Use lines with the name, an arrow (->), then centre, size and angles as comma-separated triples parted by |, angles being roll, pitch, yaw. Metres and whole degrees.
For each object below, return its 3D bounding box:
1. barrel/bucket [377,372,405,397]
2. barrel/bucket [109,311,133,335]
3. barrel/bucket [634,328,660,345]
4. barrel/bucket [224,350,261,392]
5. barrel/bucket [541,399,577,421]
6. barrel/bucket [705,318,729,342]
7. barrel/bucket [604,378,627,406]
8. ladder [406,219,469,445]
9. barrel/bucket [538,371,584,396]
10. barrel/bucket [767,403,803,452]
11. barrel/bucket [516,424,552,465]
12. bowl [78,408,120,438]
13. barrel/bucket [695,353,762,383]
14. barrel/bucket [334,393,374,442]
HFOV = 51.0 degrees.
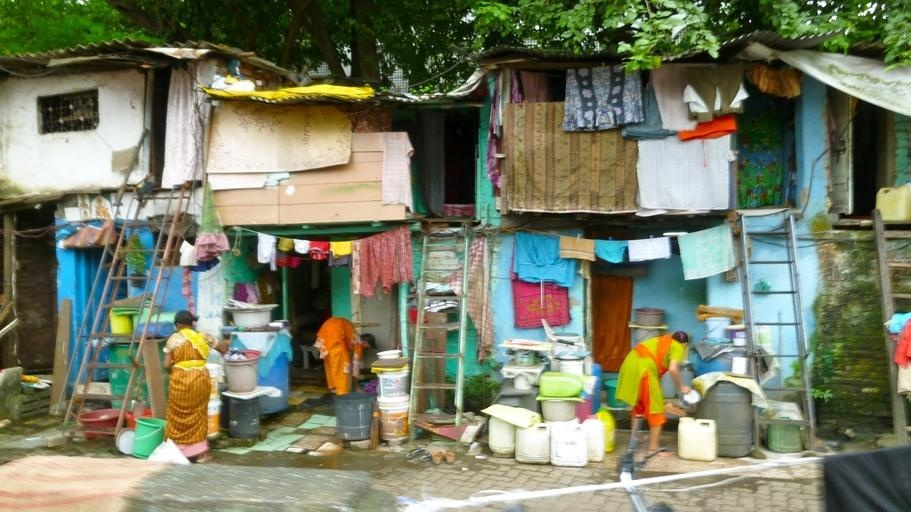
barrel/bucket -> -1.365, 2.845, 21.091 | 0.638, 0.435, 0.580 | 0, -8, 0
barrel/bucket -> -7.634, 1.543, 21.874 | 0.626, 0.593, 0.569 | -1, -6, -7
barrel/bucket -> 4.457, 1.865, 22.194 | 0.441, 0.277, 0.414 | 2, -1, 0
barrel/bucket -> -4.634, 2.595, 21.406 | 0.916, 0.685, 0.870 | -3, -1, 0
barrel/bucket -> 2.214, 3.258, 20.178 | 0.608, 0.249, 0.574 | -1, -10, 0
barrel/bucket -> 5.880, 1.653, 21.450 | 0.593, 0.471, 0.517 | 1, -4, -3
barrel/bucket -> 3.632, 3.198, 22.168 | 0.622, 0.412, 0.550 | -3, 5, -7
ladder -> -0.299, 1.637, 21.647 | 1.389, 4.148, 1.571 | -2, -1, 6
barrel/bucket -> 2.257, 2.736, 20.237 | 0.741, 0.315, 0.502 | 0, -3, 9
barrel/bucket -> 6.978, 3.626, 20.149 | 0.722, 1.031, 0.548 | -2, -1, 15
barrel/bucket -> 1.643, 3.961, 19.982 | 0.850, 0.629, 0.791 | -1, -4, 0
bowl -> -7.738, 3.656, 20.948 | 0.946, 0.303, 0.692 | -1, -1, 15
barrel/bucket -> 5.935, 2.382, 20.697 | 0.978, 0.864, 0.901 | 1, 1, 0
barrel/bucket -> -1.993, 3.630, 21.247 | 0.835, 0.778, 0.829 | -2, -7, 0
